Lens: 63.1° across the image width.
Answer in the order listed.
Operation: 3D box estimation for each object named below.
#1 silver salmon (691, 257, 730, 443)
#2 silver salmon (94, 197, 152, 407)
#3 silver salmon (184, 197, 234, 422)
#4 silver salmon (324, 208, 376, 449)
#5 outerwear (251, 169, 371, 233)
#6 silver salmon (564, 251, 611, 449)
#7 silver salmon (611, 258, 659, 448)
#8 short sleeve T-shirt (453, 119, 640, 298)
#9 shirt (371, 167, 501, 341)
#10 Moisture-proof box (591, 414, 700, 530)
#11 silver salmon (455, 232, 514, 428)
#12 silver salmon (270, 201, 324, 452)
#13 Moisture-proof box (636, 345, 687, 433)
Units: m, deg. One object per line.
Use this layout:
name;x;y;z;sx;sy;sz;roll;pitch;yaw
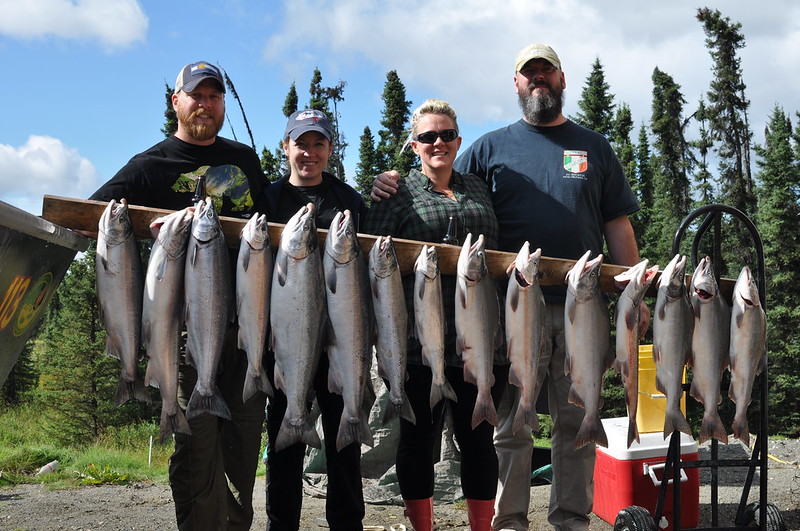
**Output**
silver salmon;2.480;0.680;5.233;0.311;1.469;0.488;-6;-10;37
silver salmon;-1.989;0.265;4.681;0.375;1.418;0.225;2;-8;-15
silver salmon;-1.396;0.305;4.732;0.346;1.573;0.289;1;-8;-10
silver salmon;-0.385;0.466;4.770;0.364;1.714;0.342;0;-8;-3
outerwear;-0.815;-0.402;5.823;0.913;0.786;0.522;11;-11;-6
silver salmon;1.443;0.645;5.034;0.340;1.509;0.461;-4;-9;23
silver salmon;1.847;0.677;5.110;0.415;1.367;0.352;0;-1;33
short sleeve T-shirt;1.263;-0.456;5.714;1.468;1.271;0.636;2;-12;-7
shirt;0.262;-0.046;5.191;1.121;1.709;0.633;5;-34;-17
Moisture-proof box;2.732;2.272;7.504;1.026;1.180;1.532;0;-5;-11
silver salmon;0.589;0.500;4.984;0.315;1.426;0.462;-3;-9;18
silver salmon;-0.745;0.431;4.711;0.342;1.701;0.281;-3;-9;22
Moisture-proof box;2.879;1.188;7.174;0.481;0.701;0.492;12;22;39
